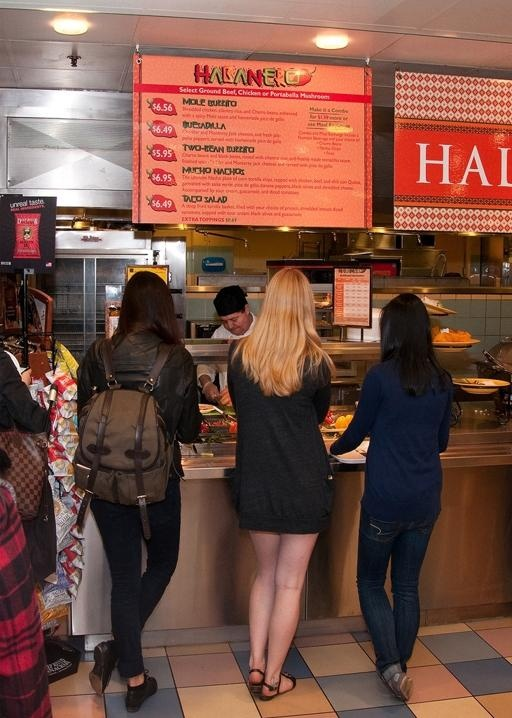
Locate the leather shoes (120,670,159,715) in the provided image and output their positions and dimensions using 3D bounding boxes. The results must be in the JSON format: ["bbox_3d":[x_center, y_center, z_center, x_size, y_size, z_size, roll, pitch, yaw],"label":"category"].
[{"bbox_3d":[-0.397,1.156,2.137,0.061,0.075,0.172,1,8,11],"label":"leather shoes"}]

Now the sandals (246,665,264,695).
[{"bbox_3d":[0.000,1.158,2.226,0.044,0.046,0.120,3,12,-1],"label":"sandals"}]

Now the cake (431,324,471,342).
[{"bbox_3d":[1.059,-0.147,3.306,0.164,0.064,0.145,5,-4,-14],"label":"cake"}]

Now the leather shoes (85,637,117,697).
[{"bbox_3d":[-0.557,1.070,2.209,0.070,0.207,0.095,3,-9,30],"label":"leather shoes"}]

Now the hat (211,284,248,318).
[{"bbox_3d":[-0.132,-0.314,3.257,0.134,0.134,0.180,-5,19,14],"label":"hat"}]

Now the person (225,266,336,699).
[{"bbox_3d":[0.068,0.454,2.133,0.374,1.527,0.349,3,-2,-11],"label":"person"}]

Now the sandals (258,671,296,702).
[{"bbox_3d":[0.072,1.177,2.240,0.065,0.056,0.141,3,6,33],"label":"sandals"}]

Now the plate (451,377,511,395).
[{"bbox_3d":[1.146,0.131,3.144,0.272,0.072,0.400,2,-1,29],"label":"plate"}]

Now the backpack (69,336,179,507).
[{"bbox_3d":[-0.432,0.215,2.037,0.323,0.408,0.196,3,-1,-9],"label":"backpack"}]

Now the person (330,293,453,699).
[{"bbox_3d":[0.475,0.492,2.200,0.421,1.453,0.334,3,-2,6],"label":"person"}]
